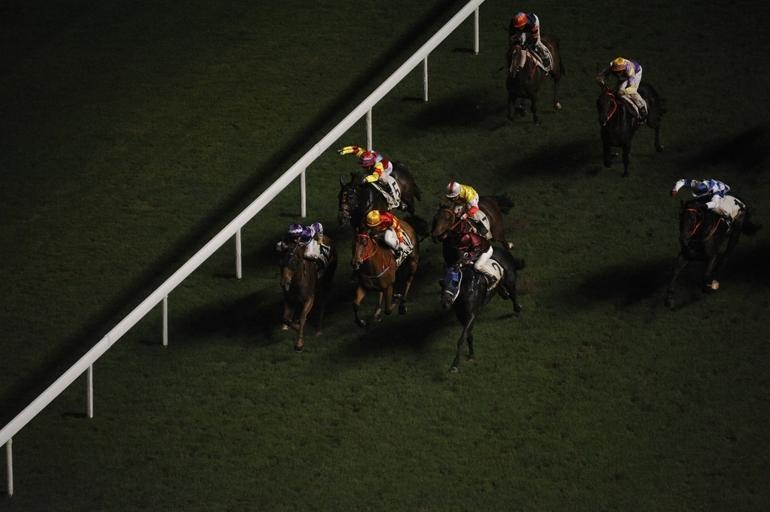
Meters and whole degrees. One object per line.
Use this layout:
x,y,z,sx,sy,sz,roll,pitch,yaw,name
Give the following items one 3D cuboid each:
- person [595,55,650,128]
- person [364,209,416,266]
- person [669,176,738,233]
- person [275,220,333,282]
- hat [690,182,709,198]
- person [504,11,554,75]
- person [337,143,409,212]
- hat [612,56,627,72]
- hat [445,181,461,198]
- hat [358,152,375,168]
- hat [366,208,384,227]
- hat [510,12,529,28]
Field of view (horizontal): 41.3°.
4.346,-3.018,18.438,0.866,1.143,0.705,4,36,12,person
0.061,-0.325,16.633,0.379,1.112,0.806,21,42,32,person
5.193,-0.989,16.998,0.911,0.419,1.209,20,-3,15,person
-1.343,-0.114,16.890,0.631,0.802,1.808,2,-4,12,person
5.153,-1.099,16.670,0.224,0.232,0.287,4,9,27,hat
2.771,-4.082,19.546,0.679,1.073,2.090,7,17,26,person
-0.446,-1.425,17.679,0.710,1.033,1.557,18,35,38,person
4.158,-3.419,18.213,0.279,0.205,0.210,3,35,11,hat
1.107,-1.081,16.687,0.242,0.283,0.298,-2,34,4,hat
-0.319,-1.652,17.424,0.231,0.240,0.276,8,16,-1,hat
-0.189,-0.612,16.335,0.240,0.282,0.327,0,34,7,hat
2.502,-4.432,19.122,0.337,0.216,0.426,-5,41,11,hat
